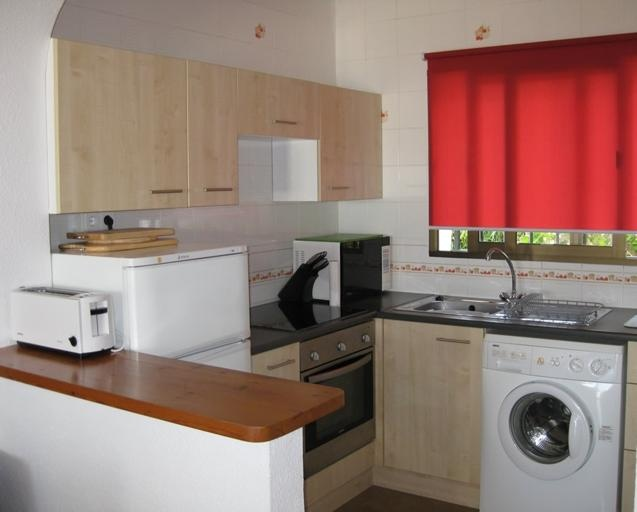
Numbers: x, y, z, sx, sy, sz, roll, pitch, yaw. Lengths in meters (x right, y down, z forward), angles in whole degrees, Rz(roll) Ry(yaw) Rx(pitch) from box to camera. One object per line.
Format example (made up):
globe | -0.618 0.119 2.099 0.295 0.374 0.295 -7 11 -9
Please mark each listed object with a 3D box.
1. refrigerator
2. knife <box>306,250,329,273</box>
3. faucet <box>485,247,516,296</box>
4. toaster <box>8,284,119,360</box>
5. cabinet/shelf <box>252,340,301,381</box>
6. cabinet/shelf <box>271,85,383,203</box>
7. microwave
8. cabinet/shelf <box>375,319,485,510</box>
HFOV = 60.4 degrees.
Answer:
refrigerator | -0.681 0.115 2.418 0.537 0.723 0.739 2 6 28
knife | 0.003 0.038 3.522 0.100 0.139 0.146 5 5 39
faucet | 1.190 0.098 3.530 0.200 0.302 0.494 3 4 20
toaster | -0.987 0.244 2.079 0.404 0.211 0.147 4 6 21
cabinet/shelf | -0.199 0.530 2.752 0.172 0.242 0.255 1 4 36
cabinet/shelf | 0.033 -0.714 3.476 0.296 0.735 0.844 2 2 36
microwave | 0.146 -0.041 3.741 0.456 0.448 0.664 2 8 26
cabinet/shelf | 0.652 0.865 3.291 0.639 0.950 0.158 5 5 37
